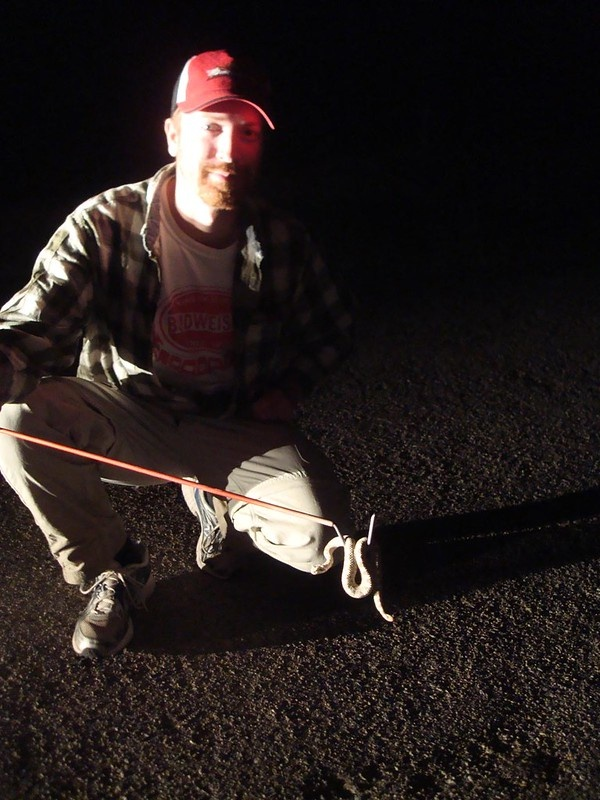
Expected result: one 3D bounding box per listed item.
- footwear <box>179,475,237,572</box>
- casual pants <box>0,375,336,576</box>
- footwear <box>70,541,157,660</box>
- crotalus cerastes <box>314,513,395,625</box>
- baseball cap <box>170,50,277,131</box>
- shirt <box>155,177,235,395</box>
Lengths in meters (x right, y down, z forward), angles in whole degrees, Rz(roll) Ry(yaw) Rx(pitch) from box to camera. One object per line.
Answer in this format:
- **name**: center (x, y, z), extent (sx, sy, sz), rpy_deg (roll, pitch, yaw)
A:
- **footwear**: center (-0.272, 0.413, 2.826), extent (0.147, 0.384, 0.188), rpy_deg (-7, -11, -35)
- **casual pants**: center (-0.356, 0.217, 2.489), extent (0.925, 0.689, 0.491), rpy_deg (-6, 32, 0)
- **footwear**: center (-0.569, 0.595, 2.509), extent (0.208, 0.173, 0.438), rpy_deg (2, 28, 8)
- **crotalus cerastes**: center (0.152, 0.445, 2.303), extent (0.350, 0.345, 0.097), rpy_deg (2, -6, 5)
- **baseball cap**: center (-0.261, -0.965, 2.562), extent (0.224, 0.152, 0.284), rpy_deg (1, 14, -23)
- **shirt**: center (-0.333, -0.329, 2.568), extent (0.357, 0.581, 0.157), rpy_deg (0, 10, -36)
